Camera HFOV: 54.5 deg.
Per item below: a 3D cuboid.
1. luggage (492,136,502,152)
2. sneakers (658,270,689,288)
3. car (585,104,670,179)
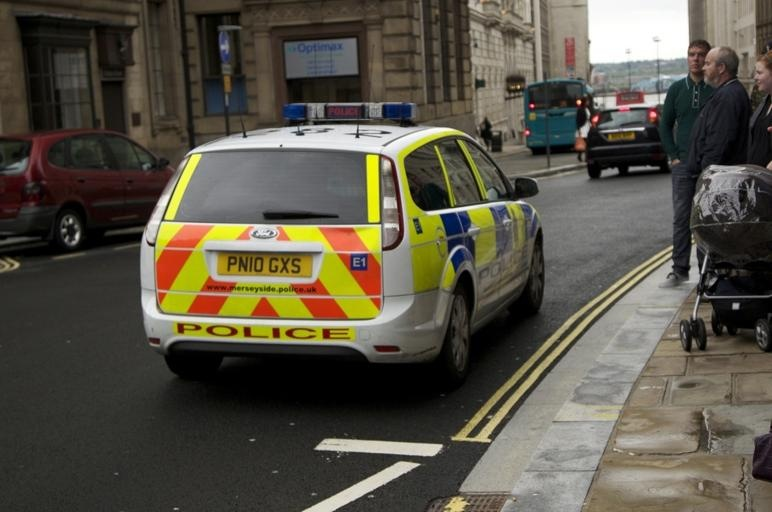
[{"bbox_3d":[6.216,-6.373,42.082,0.668,0.697,1.296,1,34,10],"label":"luggage"},{"bbox_3d":[3.608,0.287,9.398,0.417,0.173,0.162,-6,7,-19],"label":"sneakers"},{"bbox_3d":[7.657,-3.643,24.022,2.354,2.302,1.211,-1,9,16],"label":"car"}]
